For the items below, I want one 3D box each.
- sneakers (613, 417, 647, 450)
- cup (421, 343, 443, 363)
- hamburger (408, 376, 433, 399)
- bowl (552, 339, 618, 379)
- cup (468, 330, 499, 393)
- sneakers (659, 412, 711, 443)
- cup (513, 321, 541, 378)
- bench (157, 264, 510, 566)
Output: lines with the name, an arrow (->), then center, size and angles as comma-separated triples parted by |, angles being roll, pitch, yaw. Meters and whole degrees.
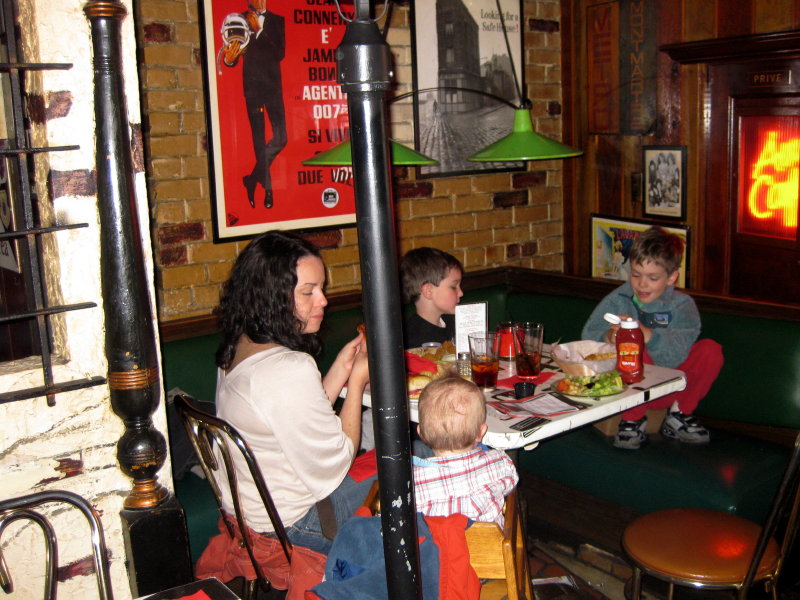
sneakers -> 1.102, 0.622, 2.962 | 0.115, 0.137, 0.157 | -3, 16, 32
cup -> 0.145, 0.236, 2.817 | 0.070, 0.073, 0.072 | 1, -4, 0
hamburger -> 0.070, 0.320, 2.244 | 0.137, 0.064, 0.190 | -2, 1, -1
bowl -> 0.754, 0.238, 2.542 | 0.164, 0.068, 0.164 | -6, 12, 1
cup -> 0.347, 0.267, 2.551 | 0.143, 0.223, 0.138 | 0, -2, 0
sneakers -> 1.358, 0.611, 2.943 | 0.203, 0.125, 0.115 | 3, 8, 39
cup -> 0.541, 0.233, 2.651 | 0.144, 0.234, 0.145 | -1, -3, 0
bench -> -0.266, 0.327, 2.308 | 0.776, 1.091, 0.715 | -3, 8, 4
